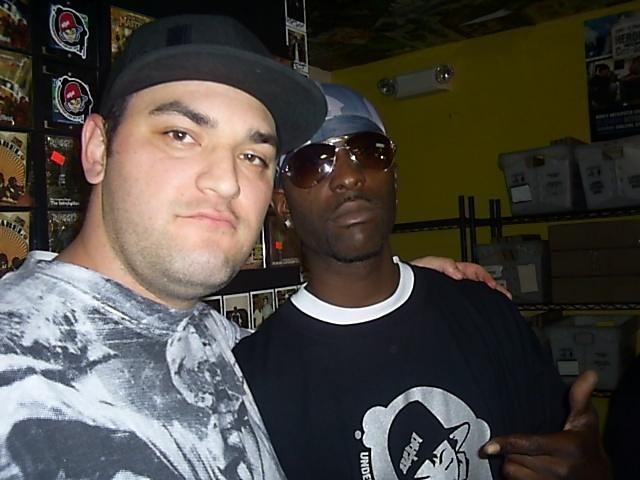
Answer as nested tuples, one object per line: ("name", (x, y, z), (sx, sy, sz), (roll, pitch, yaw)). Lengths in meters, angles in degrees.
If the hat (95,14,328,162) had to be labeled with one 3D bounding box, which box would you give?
("hat", (-0.269, -0.476, 1.678), (0.478, 0.268, 0.398), (-16, -16, 31))
